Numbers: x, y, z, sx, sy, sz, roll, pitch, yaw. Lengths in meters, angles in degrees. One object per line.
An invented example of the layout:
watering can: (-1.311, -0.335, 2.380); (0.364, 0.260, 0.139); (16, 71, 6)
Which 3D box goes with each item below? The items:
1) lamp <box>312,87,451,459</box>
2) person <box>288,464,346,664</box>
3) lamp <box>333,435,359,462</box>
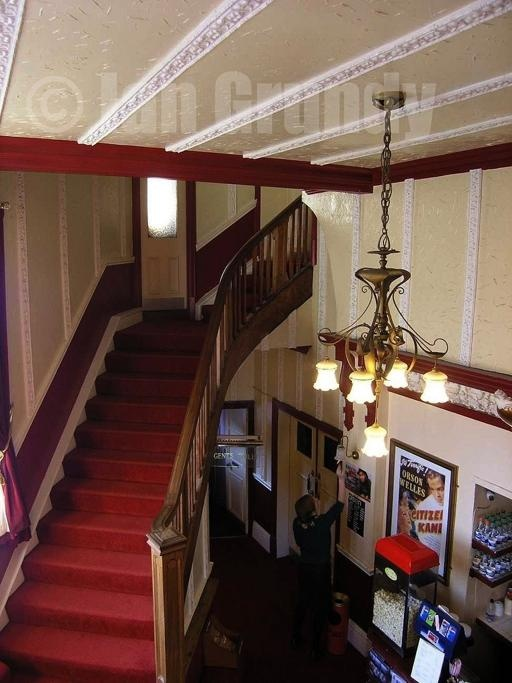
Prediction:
lamp: (0.507, -0.269, 2.072); (0.432, 1.391, 0.462); (-2, 8, -29)
person: (0.612, 2.142, 4.946); (0.491, 1.898, 0.717); (1, 4, 11)
lamp: (0.832, 1.038, 4.791); (0.207, 0.355, 0.151); (3, 0, -15)
